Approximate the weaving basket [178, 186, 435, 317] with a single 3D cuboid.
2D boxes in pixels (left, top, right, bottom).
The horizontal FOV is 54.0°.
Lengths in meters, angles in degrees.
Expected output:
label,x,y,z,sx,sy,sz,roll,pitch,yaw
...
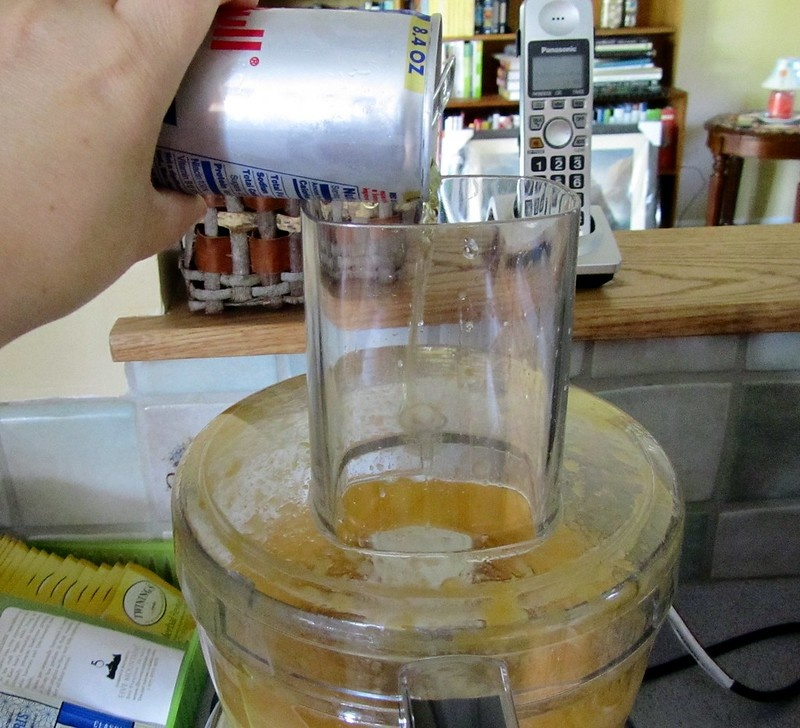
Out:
label,x,y,z,sx,sy,sz,roll,pitch,yaw
weaving basket,-0.070,-0.090,0.556,0.138,0.098,0.086,2,18,3
